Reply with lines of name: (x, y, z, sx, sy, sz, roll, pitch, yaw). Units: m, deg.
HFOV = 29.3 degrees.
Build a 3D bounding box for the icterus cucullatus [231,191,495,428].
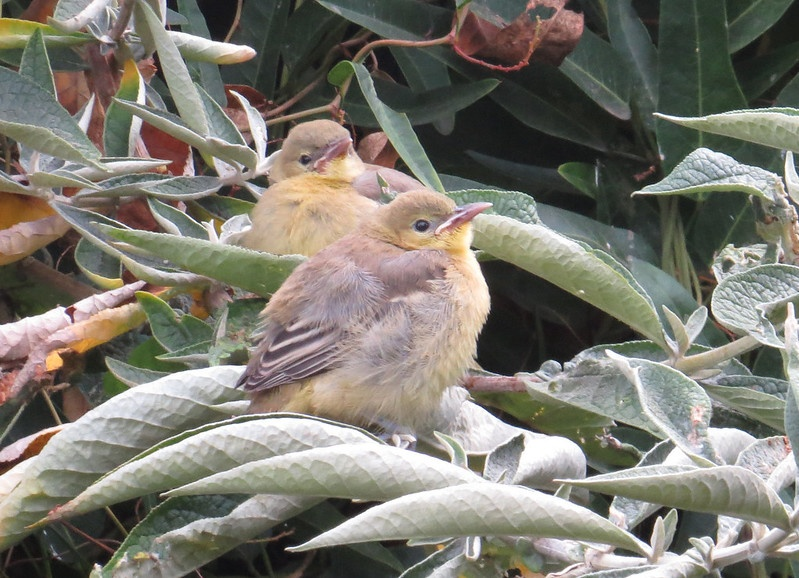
icterus cucullatus: (-0.094, 0.077, 4.394, 0.800, 0.648, 0.542, -7, 9, -1)
